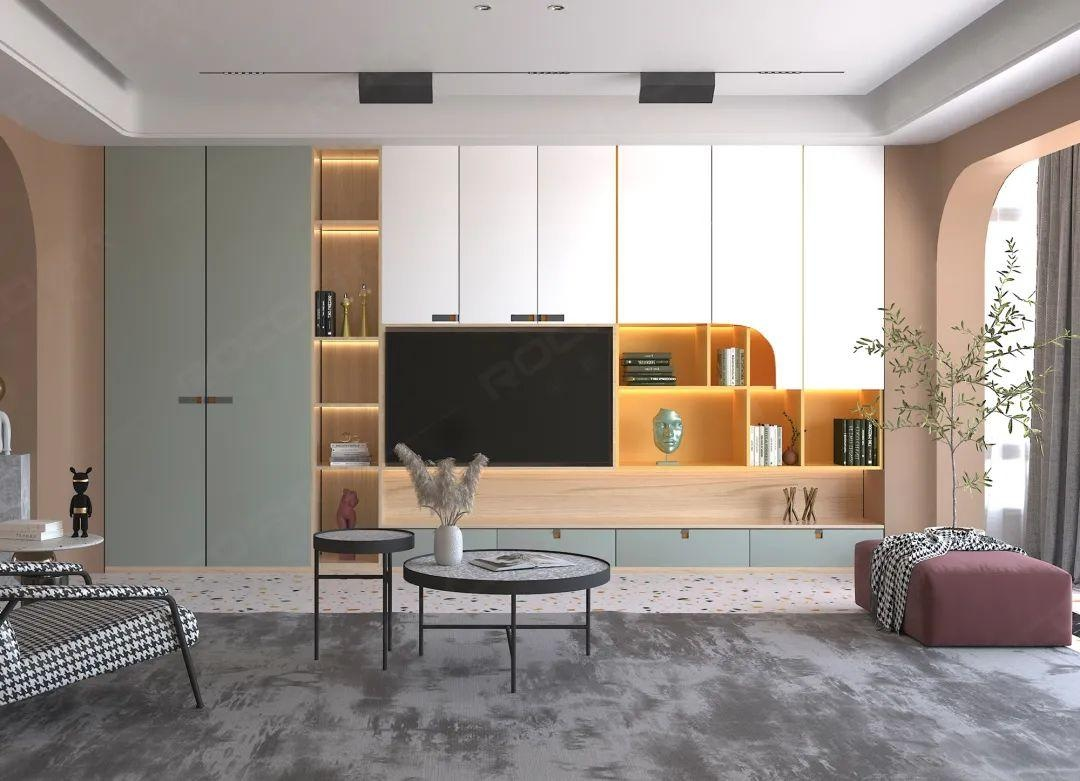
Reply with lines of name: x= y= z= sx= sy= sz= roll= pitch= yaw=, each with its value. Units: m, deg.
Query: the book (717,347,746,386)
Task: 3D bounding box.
book: x=1.568 y=-0.188 z=6.545 sx=0.273 sy=0.331 sz=0.260 roll=-1 pitch=0 yaw=-2

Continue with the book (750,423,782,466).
book: x=1.833 y=0.433 z=6.665 sx=0.287 sy=0.390 sz=0.389 roll=0 pitch=-3 yaw=8

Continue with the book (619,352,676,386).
book: x=0.889 y=-0.168 z=6.628 sx=0.394 sy=0.264 sz=0.284 roll=0 pitch=-2 yaw=-3

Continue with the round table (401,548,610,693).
round table: x=-0.153 y=1.139 z=4.264 sx=0.806 sy=0.385 sz=0.805 roll=0 pitch=-2 yaw=0

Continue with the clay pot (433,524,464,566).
clay pot: x=-0.487 y=0.884 z=4.584 sx=0.197 sy=0.278 sz=0.195 roll=0 pitch=2 yaw=0

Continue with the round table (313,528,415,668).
round table: x=-1.065 y=1.193 z=4.570 sx=0.627 sy=0.726 sz=0.625 roll=0 pitch=-5 yaw=0

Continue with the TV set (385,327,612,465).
TV set: x=-0.345 y=0.065 z=6.664 sx=1.914 sy=1.162 sz=0.071 roll=0 pitch=9 yaw=8

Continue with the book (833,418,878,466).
book: x=2.612 y=0.418 z=6.790 sx=0.358 sy=0.517 sz=0.381 roll=0 pitch=1 yaw=-10

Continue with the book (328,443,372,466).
book: x=-1.535 y=0.529 z=6.548 sx=0.262 sy=0.167 sz=0.193 roll=1 pitch=-2 yaw=-5
